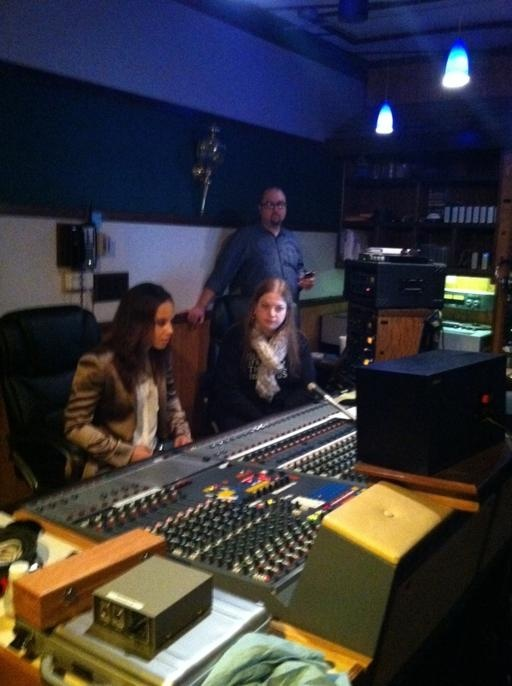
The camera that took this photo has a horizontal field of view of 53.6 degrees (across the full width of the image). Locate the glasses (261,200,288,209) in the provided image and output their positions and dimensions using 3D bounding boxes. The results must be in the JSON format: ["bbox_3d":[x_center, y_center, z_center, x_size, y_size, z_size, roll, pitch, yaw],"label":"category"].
[{"bbox_3d":[0.150,-1.161,4.345,0.199,0.073,0.073,-4,4,1],"label":"glasses"}]

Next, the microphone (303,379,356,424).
[{"bbox_3d":[0.302,0.241,2.024,0.041,0.215,0.041,-37,-7,-32],"label":"microphone"}]

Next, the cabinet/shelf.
[{"bbox_3d":[1.807,-1.399,5.517,1.766,1.467,0.692,-1,5,42],"label":"cabinet/shelf"}]

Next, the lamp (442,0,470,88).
[{"bbox_3d":[1.395,-1.961,3.537,0.162,0.318,0.289,-2,4,22],"label":"lamp"}]
